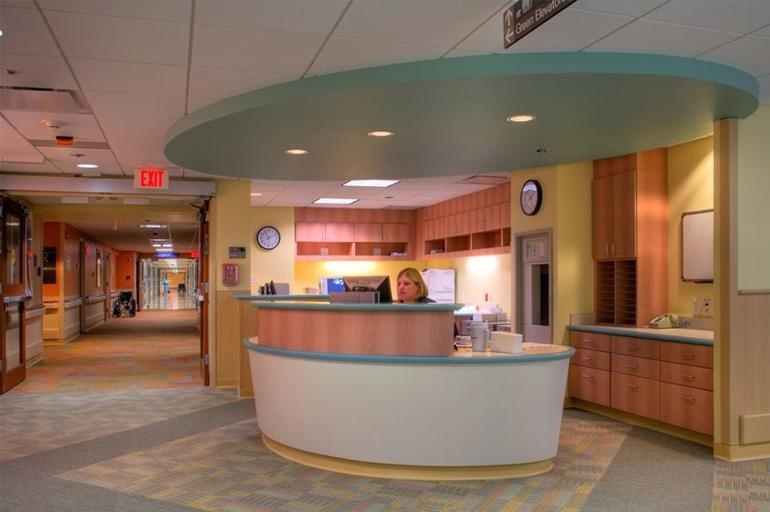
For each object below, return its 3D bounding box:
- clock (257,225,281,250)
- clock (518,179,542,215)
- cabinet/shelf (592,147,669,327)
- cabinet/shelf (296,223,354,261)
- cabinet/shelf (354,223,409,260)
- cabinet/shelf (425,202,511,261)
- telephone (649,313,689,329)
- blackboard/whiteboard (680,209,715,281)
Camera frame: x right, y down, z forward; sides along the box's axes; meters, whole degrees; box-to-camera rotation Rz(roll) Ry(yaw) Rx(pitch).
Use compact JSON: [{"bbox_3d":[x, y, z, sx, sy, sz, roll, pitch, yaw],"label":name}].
[{"bbox_3d":[-2.820,-0.452,13.288,0.569,0.534,0.093,-5,0,-12],"label":"clock"},{"bbox_3d":[2.323,-0.949,8.821,0.109,0.595,0.546,3,-9,-19],"label":"clock"},{"bbox_3d":[3.586,-0.284,8.111,1.025,1.912,0.556,0,0,19],"label":"cabinet/shelf"},{"bbox_3d":[-1.410,-0.354,13.768,1.570,0.887,0.511,1,0,14],"label":"cabinet/shelf"},{"bbox_3d":[-0.127,-0.334,14.079,1.498,0.820,0.483,-1,1,-14],"label":"cabinet/shelf"},{"bbox_3d":[1.757,-0.440,12.094,0.484,1.013,2.913,-3,-2,-28],"label":"cabinet/shelf"},{"bbox_3d":[3.942,0.894,7.661,0.492,0.143,0.265,0,0,-19],"label":"telephone"},{"bbox_3d":[4.292,-0.150,7.614,0.099,0.706,0.449,0,0,-21],"label":"blackboard/whiteboard"}]
